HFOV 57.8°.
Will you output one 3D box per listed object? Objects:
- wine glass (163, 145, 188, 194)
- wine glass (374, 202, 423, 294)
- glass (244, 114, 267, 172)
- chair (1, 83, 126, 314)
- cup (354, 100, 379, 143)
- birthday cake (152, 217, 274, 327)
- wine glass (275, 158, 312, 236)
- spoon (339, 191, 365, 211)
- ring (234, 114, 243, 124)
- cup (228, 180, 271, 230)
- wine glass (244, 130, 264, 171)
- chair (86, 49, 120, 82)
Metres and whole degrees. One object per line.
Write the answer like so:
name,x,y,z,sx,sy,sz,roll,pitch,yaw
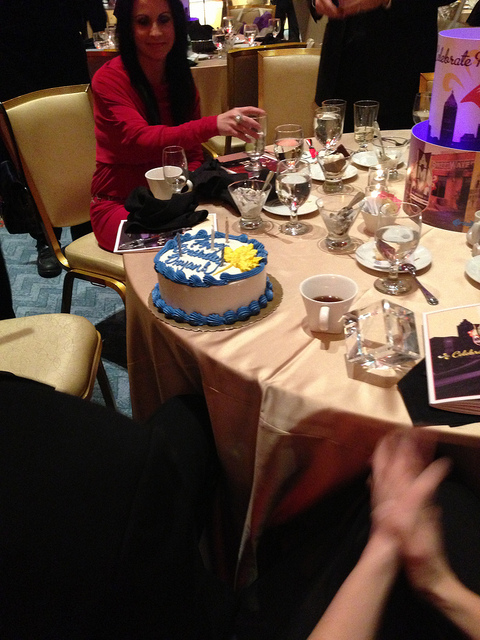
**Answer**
wine glass,-0.203,-0.492,1.414,0.087,0.151,0.145,-2,0,-3
wine glass,0.350,-0.201,0.976,0.090,0.140,0.342,9,35,16
glass,0.054,-0.651,1.586,0.074,0.183,0.072,-2,26,-2
chair,-0.618,-0.356,1.935,0.588,1.167,0.548,-16,36,-30
cup,0.484,-0.750,1.683,0.094,0.155,0.097,-2,11,0
birthday cake,-0.062,-0.082,0.933,0.224,0.157,0.234,1,28,0
wine glass,0.146,-0.334,1.166,0.101,0.183,0.103,15,32,32
spoon,0.262,-0.286,1.032,0.026,0.017,0.115,15,50,25
ring,-0.006,-0.708,1.539,0.030,0.032,0.007,5,3,31
cup,0.021,-0.321,1.226,0.119,0.121,0.127,0,35,0
wine glass,0.054,-0.633,1.600,0.078,0.149,0.093,1,36,5
chair,-1.191,-2.207,3.739,0.217,0.191,0.688,-11,35,-14
